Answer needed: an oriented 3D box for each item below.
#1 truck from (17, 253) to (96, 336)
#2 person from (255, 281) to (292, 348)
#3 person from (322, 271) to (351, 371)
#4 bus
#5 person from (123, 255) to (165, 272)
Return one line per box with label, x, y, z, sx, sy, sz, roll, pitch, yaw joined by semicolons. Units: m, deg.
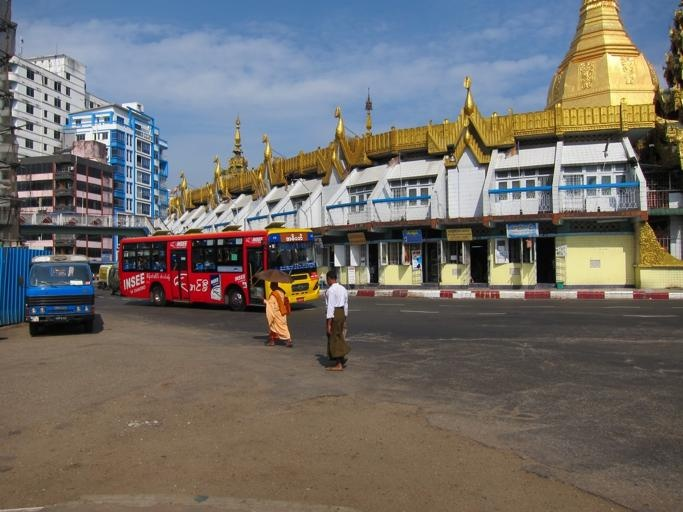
truck;-8.673;1.127;21.913;1.492;1.762;2.786;0;-5;-23
person;-1.639;1.578;18.347;0.504;1.655;0.904;-7;12;-31
person;-0.077;1.446;15.572;0.461;2.032;0.761;-1;10;0
bus;-5.303;0.607;30.365;10.663;3.788;3.200;-4;-3;42
person;-8.491;0.311;31.353;2.725;0.812;0.807;-4;-3;38
